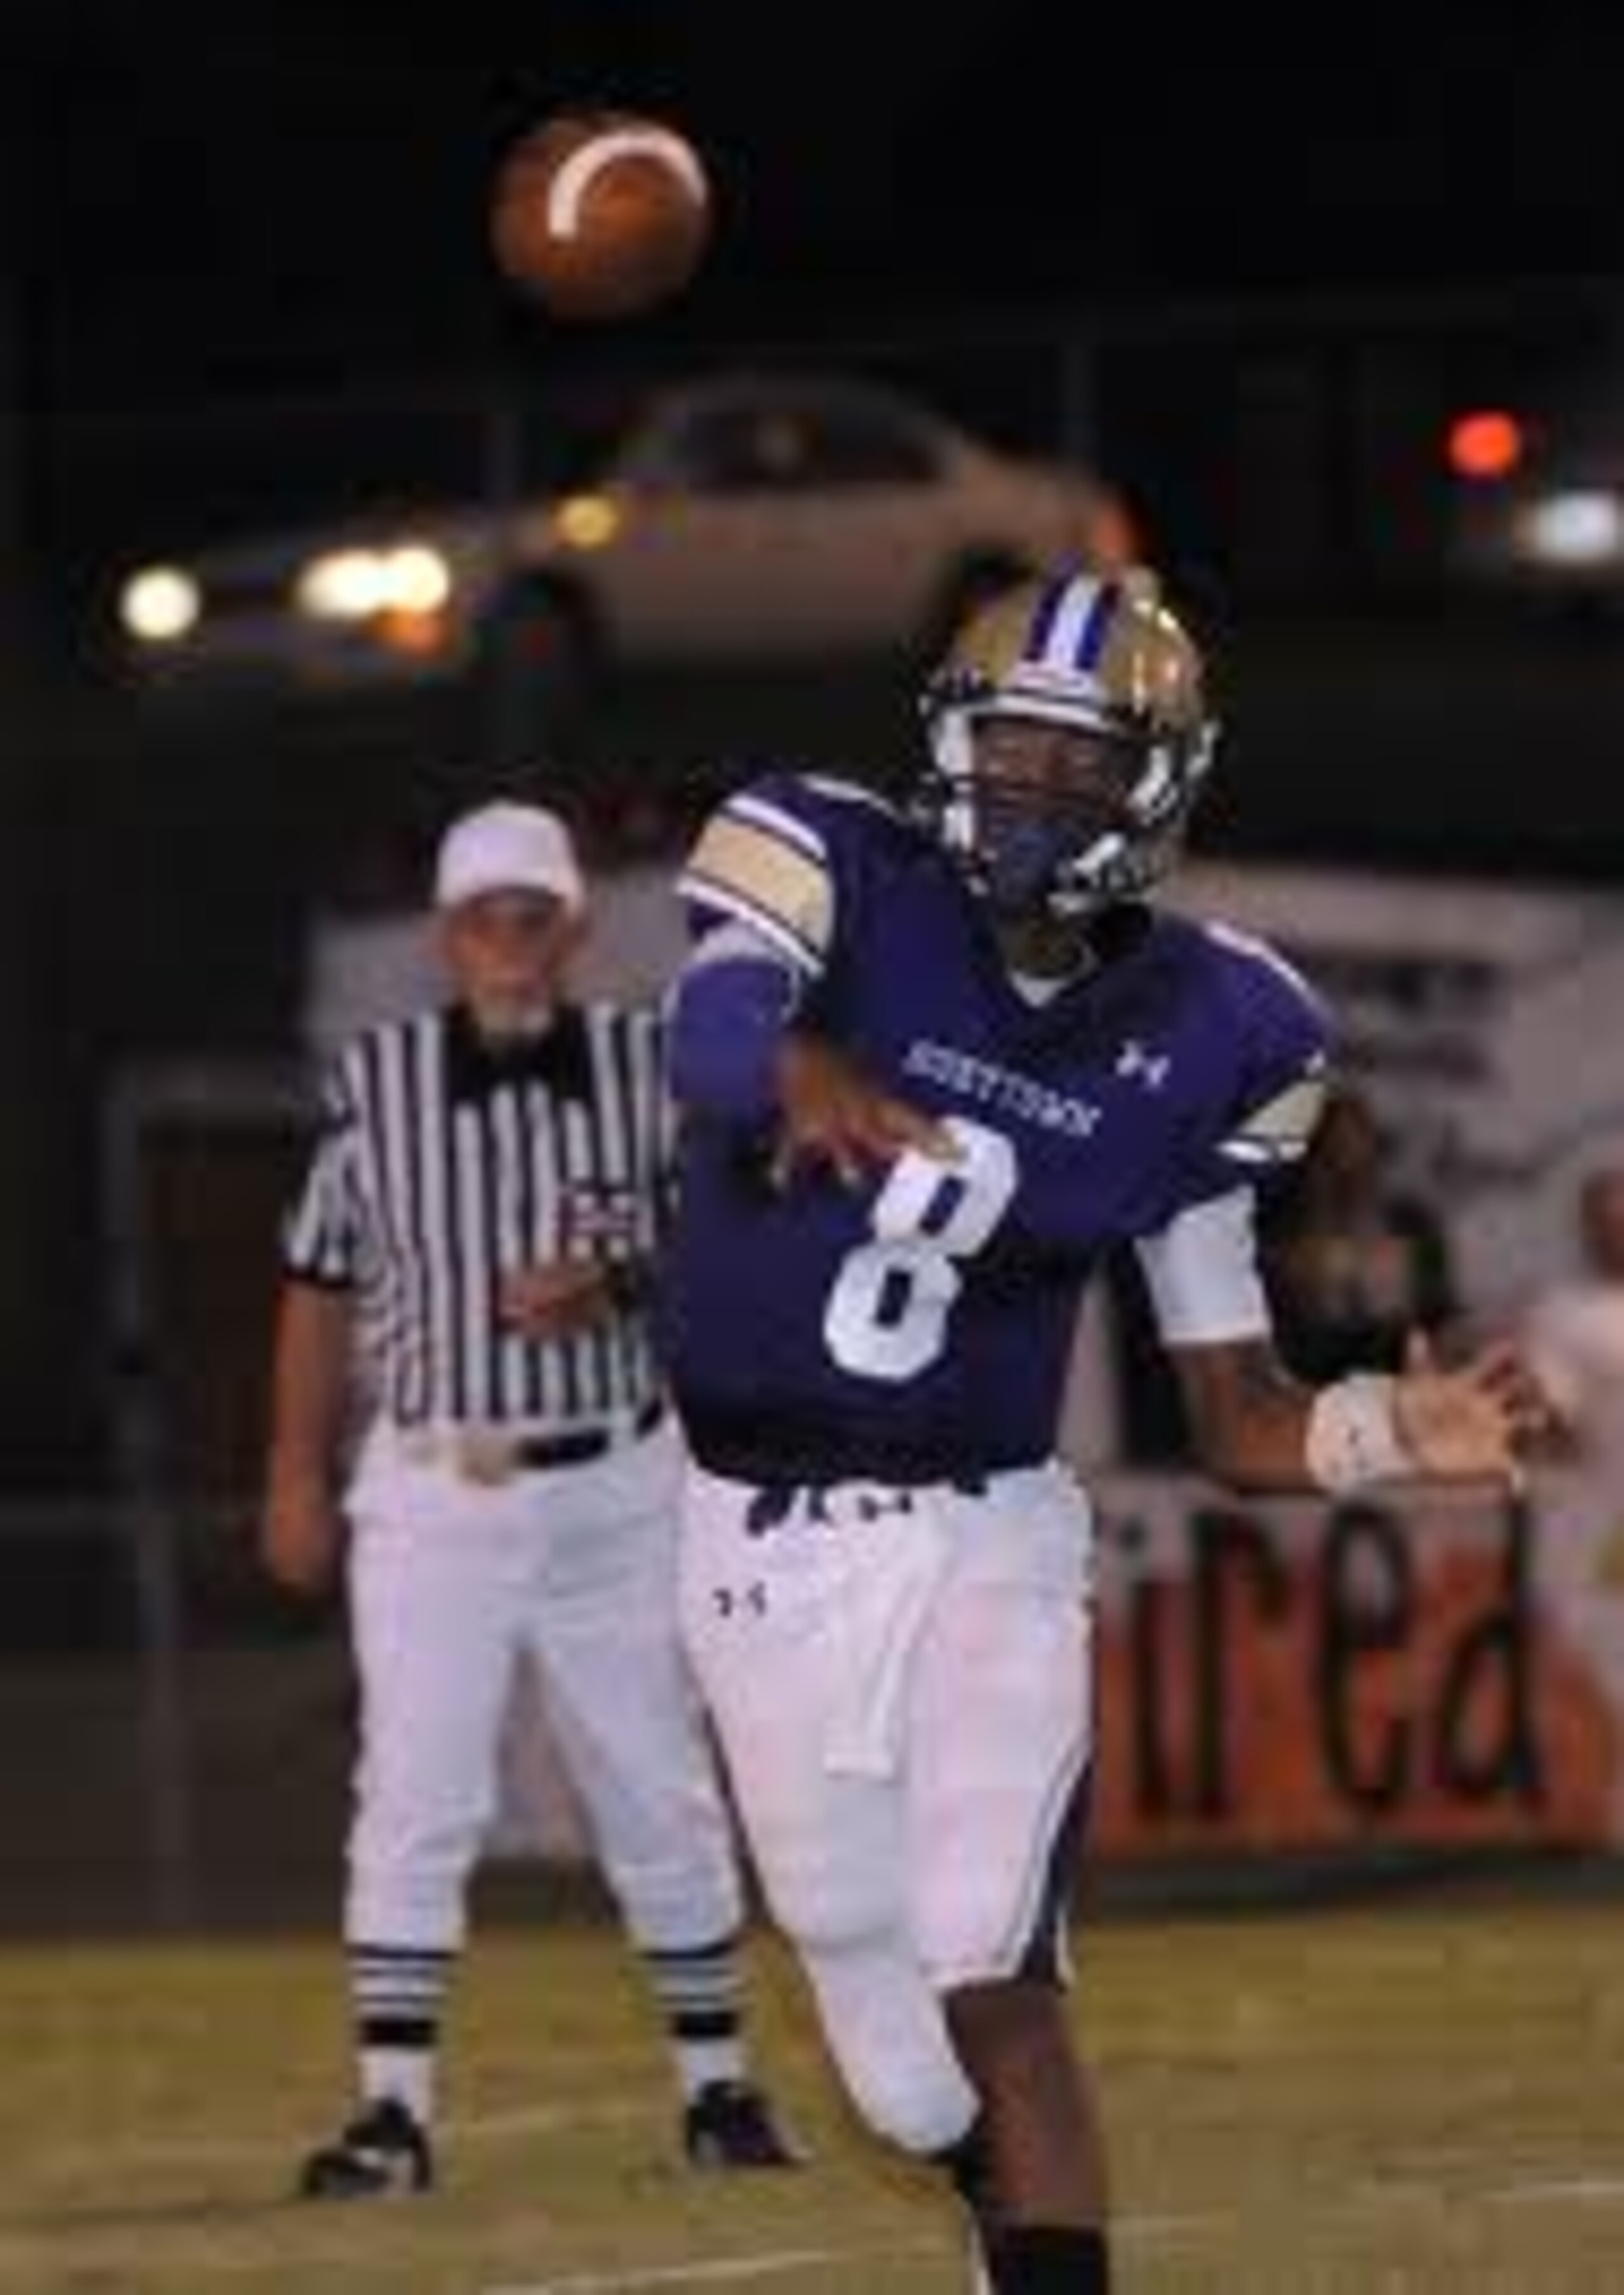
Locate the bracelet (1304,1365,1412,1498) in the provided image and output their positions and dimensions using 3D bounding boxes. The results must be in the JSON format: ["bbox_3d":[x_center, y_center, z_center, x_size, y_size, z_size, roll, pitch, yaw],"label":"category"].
[{"bbox_3d":[0.555,0.287,3.407,0.113,0.096,0.127,-22,6,-4],"label":"bracelet"}]

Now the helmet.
[{"bbox_3d":[0.270,-0.444,3.624,0.331,0.312,0.383,10,14,7],"label":"helmet"}]

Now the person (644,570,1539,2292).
[{"bbox_3d":[0.252,0.320,3.426,0.729,1.862,0.691,-3,3,-26],"label":"person"}]

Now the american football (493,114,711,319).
[{"bbox_3d":[-0.265,-1.358,4.925,0.318,0.230,0.296,-19,21,-2],"label":"american football"}]

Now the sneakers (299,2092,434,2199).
[{"bbox_3d":[-0.578,1.348,4.482,0.194,0.106,0.094,-7,-25,30],"label":"sneakers"}]

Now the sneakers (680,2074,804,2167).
[{"bbox_3d":[-0.107,1.387,4.761,0.079,0.080,0.207,3,-8,-31],"label":"sneakers"}]

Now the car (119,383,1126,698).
[{"bbox_3d":[-0.429,-1.741,9.862,2.969,0.791,1.208,-2,6,-17],"label":"car"}]
